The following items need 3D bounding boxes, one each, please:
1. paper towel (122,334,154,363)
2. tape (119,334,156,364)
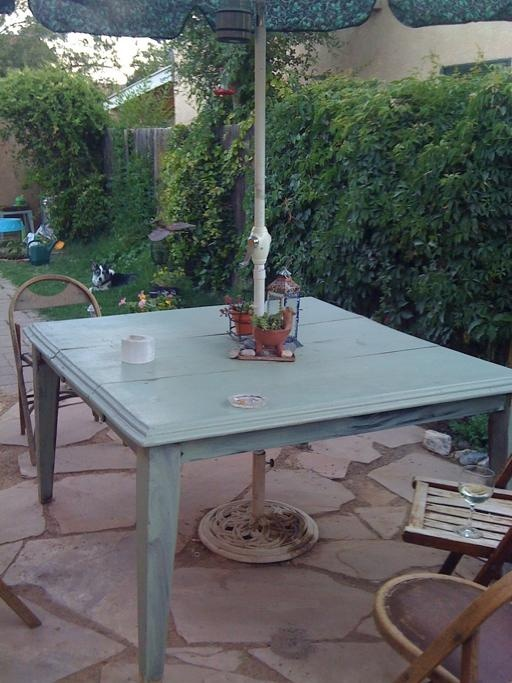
[{"bbox_3d":[-0.423,0.021,2.527,0.108,0.069,0.100,-1,11,-14],"label":"paper towel"},{"bbox_3d":[-0.426,0.036,2.571,0.113,0.068,0.104,6,25,8],"label":"tape"}]
